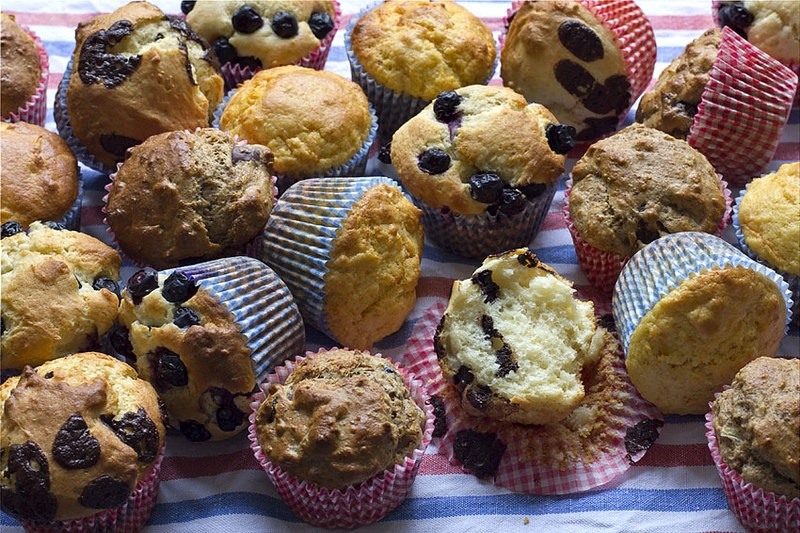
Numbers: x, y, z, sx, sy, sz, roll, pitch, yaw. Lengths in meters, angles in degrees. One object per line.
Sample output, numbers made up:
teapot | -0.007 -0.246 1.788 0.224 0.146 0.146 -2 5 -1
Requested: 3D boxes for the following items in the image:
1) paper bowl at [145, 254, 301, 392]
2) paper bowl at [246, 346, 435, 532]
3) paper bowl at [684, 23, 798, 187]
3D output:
paper bowl | -0.659 0.143 3.125 0.344 0.455 0.503 -32 63 -29
paper bowl | -0.243 0.675 2.977 0.702 0.412 0.485 9 49 -1
paper bowl | 1.483 -0.788 3.618 0.422 0.546 0.610 15 69 30
